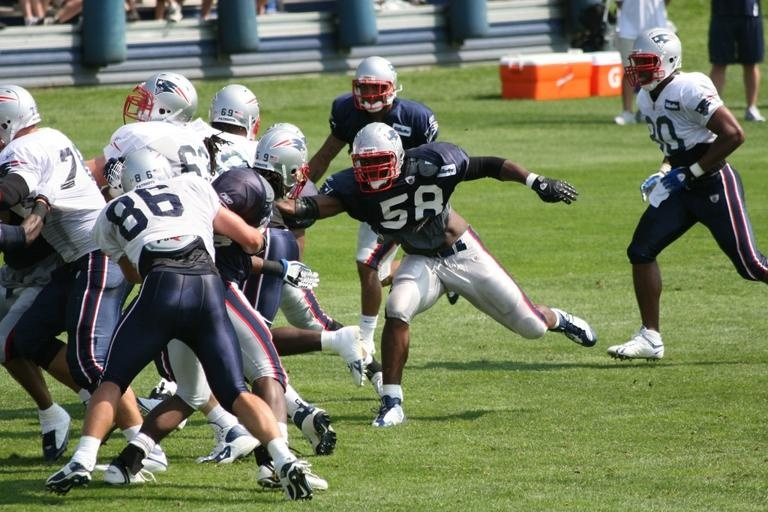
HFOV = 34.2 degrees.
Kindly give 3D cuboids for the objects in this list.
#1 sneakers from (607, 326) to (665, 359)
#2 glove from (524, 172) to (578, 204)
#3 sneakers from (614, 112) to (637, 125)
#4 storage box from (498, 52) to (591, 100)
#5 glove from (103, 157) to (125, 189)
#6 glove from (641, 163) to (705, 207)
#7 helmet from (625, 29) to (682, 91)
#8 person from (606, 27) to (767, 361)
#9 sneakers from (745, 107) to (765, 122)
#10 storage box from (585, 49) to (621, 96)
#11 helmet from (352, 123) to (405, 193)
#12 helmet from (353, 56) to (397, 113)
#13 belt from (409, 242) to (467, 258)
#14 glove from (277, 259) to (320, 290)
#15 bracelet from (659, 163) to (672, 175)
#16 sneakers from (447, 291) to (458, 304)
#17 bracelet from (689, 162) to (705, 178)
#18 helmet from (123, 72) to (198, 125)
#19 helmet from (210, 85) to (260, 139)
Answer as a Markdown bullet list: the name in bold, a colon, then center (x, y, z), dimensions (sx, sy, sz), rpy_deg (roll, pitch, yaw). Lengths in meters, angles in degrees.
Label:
- **sneakers**: center (1.808, 0.660, 9.015), dimensions (0.439, 0.232, 0.143), rpy_deg (3, -2, -23)
- **glove**: center (1.111, -0.434, 8.434), dimensions (0.304, 0.197, 0.109), rpy_deg (18, -29, -19)
- **sneakers**: center (3.173, -1.811, 16.532), dimensions (0.355, 0.162, 0.139), rpy_deg (-2, 9, -36)
- **storage box**: center (2.122, -2.270, 16.158), dimensions (0.541, 0.605, 1.640), rpy_deg (3, 9, 34)
- **glove**: center (-1.730, -0.537, 8.076), dimensions (0.156, 0.211, 0.191), rpy_deg (-4, -10, -10)
- **glove**: center (2.100, -0.541, 9.177), dimensions (0.394, 0.249, 0.135), rpy_deg (-13, 13, -3)
- **helmet**: center (2.017, -1.475, 9.325), dimensions (0.448, 0.436, 0.344), rpy_deg (-13, 13, -26)
- **person**: center (2.206, -0.442, 9.129), dimensions (1.002, 2.369, 0.933), rpy_deg (3, 11, 13)
- **sneakers**: center (4.774, -1.851, 16.400), dimensions (0.129, 0.168, 0.385), rpy_deg (-10, 9, -16)
- **storage box**: center (3.118, -2.591, 18.021), dimensions (0.397, 0.637, 0.738), rpy_deg (2, 5, 17)
- **helmet**: center (-0.026, -0.691, 8.322), dimensions (0.340, 0.411, 0.464), rpy_deg (-4, 19, 10)
- **helmet**: center (-0.083, -1.229, 9.356), dimensions (0.307, 0.355, 0.398), rpy_deg (-3, -9, -3)
- **belt**: center (0.407, -0.022, 8.487), dimensions (0.195, 0.053, 0.153), rpy_deg (-11, 14, 35)
- **glove**: center (-0.555, 0.137, 8.234), dimensions (0.232, 0.218, 0.225), rpy_deg (0, 11, -4)
- **bracelet**: center (2.112, -0.650, 9.469), dimensions (0.055, 0.066, 0.155), rpy_deg (1, -3, 13)
- **sneakers**: center (0.529, 0.337, 9.674), dimensions (0.059, 0.077, 0.199), rpy_deg (-8, -35, 2)
- **bracelet**: center (2.228, -0.608, 8.973), dimensions (0.070, 0.095, 0.094), rpy_deg (-23, -17, 19)
- **helmet**: center (-1.535, -1.100, 8.870), dimensions (0.507, 0.417, 0.384), rpy_deg (8, 15, -4)
- **helmet**: center (-1.095, -1.065, 9.207), dimensions (0.363, 0.410, 0.454), rpy_deg (6, 10, -4)
